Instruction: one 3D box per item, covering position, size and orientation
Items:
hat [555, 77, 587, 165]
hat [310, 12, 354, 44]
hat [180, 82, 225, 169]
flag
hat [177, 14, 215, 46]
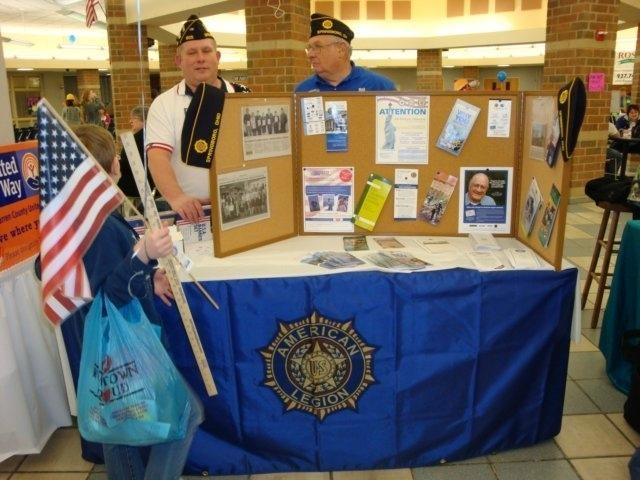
[{"bbox_3d":[1.060,-0.524,2.167,0.062,0.296,0.231,8,15,15],"label":"hat"},{"bbox_3d":[0.085,-1.433,3.432,0.243,0.131,0.189,4,9,-30],"label":"hat"},{"bbox_3d":[-0.545,-0.529,2.402,0.196,0.384,0.085,1,10,-33],"label":"hat"},{"bbox_3d":[-0.879,-0.092,1.827,0.326,0.796,0.200,-18,26,-34],"label":"flag"},{"bbox_3d":[-0.695,-1.139,2.801,0.140,0.105,0.198,-7,37,-3],"label":"hat"}]
